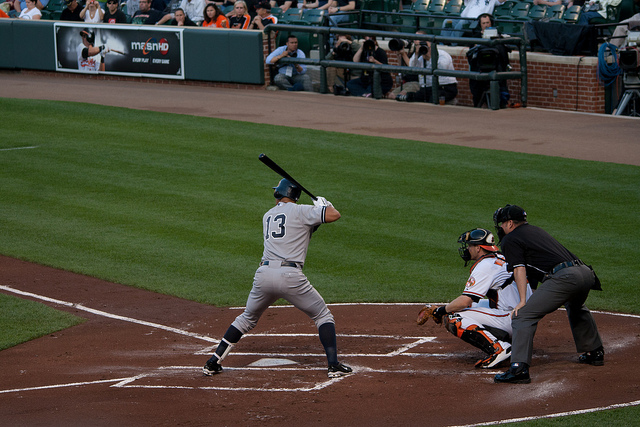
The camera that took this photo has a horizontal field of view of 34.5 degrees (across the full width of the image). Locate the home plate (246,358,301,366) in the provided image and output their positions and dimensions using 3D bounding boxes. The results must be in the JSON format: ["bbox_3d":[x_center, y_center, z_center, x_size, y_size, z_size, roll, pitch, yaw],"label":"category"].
[{"bbox_3d":[-0.633,2.071,14.378,0.667,0.057,0.235,2,8,7],"label":"home plate"}]

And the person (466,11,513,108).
[{"bbox_3d":[3.945,-3.566,24.248,1.053,2.175,1.012,2,10,8],"label":"person"}]

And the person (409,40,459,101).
[{"bbox_3d":[2.550,-3.456,24.868,1.341,1.333,1.178,-8,7,-15],"label":"person"}]

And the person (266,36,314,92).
[{"bbox_3d":[-0.746,-3.808,26.542,0.780,1.358,0.947,8,12,34],"label":"person"}]

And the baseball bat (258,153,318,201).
[{"bbox_3d":[-0.385,-0.497,14.291,1.271,0.164,0.153,35,12,-38],"label":"baseball bat"}]

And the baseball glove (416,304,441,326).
[{"bbox_3d":[1.480,1.374,14.309,0.377,0.274,0.113,-35,21,25],"label":"baseball glove"}]

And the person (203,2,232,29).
[{"bbox_3d":[-2.678,-5.190,27.186,0.545,0.641,0.774,-4,11,-27],"label":"person"}]

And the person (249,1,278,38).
[{"bbox_3d":[-1.423,-5.005,26.801,0.651,0.919,0.945,-2,10,-15],"label":"person"}]

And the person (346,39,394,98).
[{"bbox_3d":[1.206,-3.589,25.739,1.124,1.426,0.882,2,10,6],"label":"person"}]

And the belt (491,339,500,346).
[{"bbox_3d":[2.343,1.744,13.959,0.137,0.028,0.041,-25,13,-33],"label":"belt"}]

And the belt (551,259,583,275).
[{"bbox_3d":[3.178,0.713,13.645,0.226,0.059,0.219,-22,-6,-39],"label":"belt"}]

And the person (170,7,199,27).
[{"bbox_3d":[-3.517,-5.210,27.704,0.600,0.496,1.549,-1,9,-9],"label":"person"}]
